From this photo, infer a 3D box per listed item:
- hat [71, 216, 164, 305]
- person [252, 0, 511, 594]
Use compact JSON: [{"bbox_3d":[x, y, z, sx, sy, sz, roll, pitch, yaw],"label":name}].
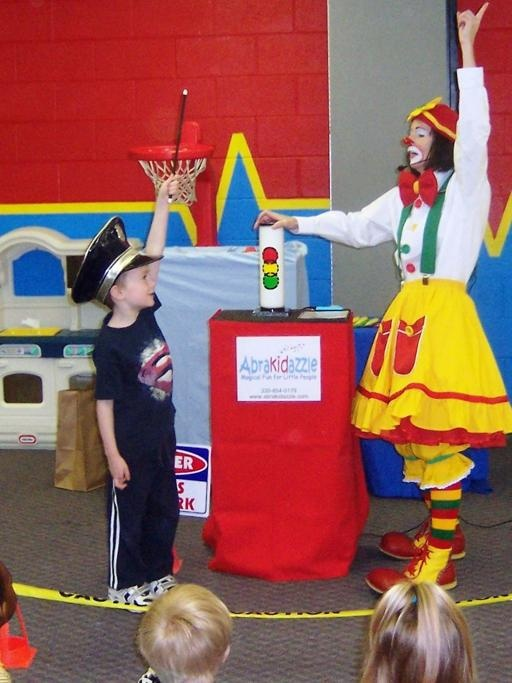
[{"bbox_3d":[-0.385,-0.217,2.224,0.161,0.238,0.269,7,18,27],"label":"hat"},{"bbox_3d":[0.477,-0.084,2.359,0.428,1.669,0.639,-2,17,-2],"label":"person"}]
